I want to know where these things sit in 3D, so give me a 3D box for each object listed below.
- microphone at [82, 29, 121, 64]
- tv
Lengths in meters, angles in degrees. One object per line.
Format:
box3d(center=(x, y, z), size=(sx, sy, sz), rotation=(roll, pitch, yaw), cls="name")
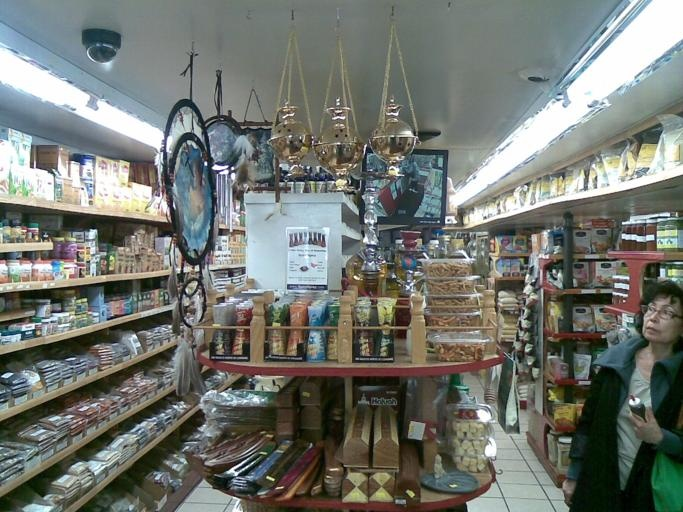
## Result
box3d(center=(-1.611, -1.366, 3.087), size=(0.283, 0.177, 0.253), rotation=(-11, 15, -31), cls="microphone")
box3d(center=(0.659, -0.757, 5.021), size=(1.016, 0.854, 0.095), rotation=(10, 18, 29), cls="tv")
